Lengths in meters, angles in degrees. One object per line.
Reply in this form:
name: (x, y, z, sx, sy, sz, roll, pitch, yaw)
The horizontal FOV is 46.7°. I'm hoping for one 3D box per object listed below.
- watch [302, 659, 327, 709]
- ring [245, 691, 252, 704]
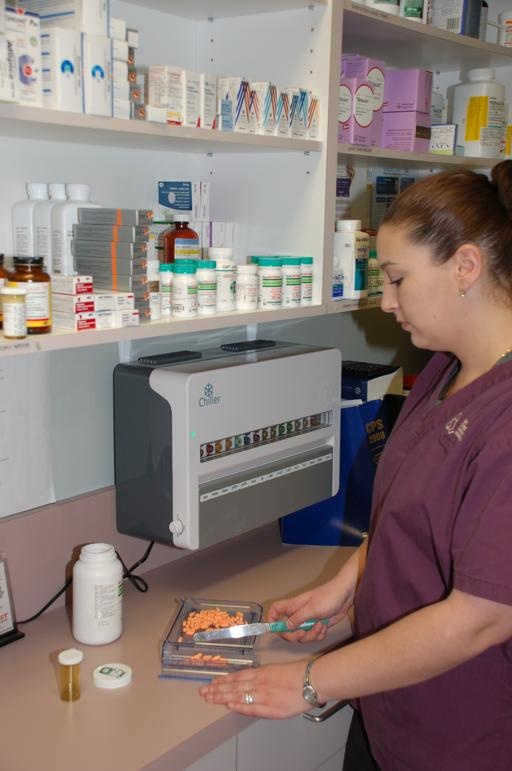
watch: (0.067, 0.383, 0.762, 0.019, 0.049, 0.049, 6, 48, 1)
ring: (-0.011, 0.431, 0.819, 0.003, 0.013, 0.013, 0, 0, -42)
